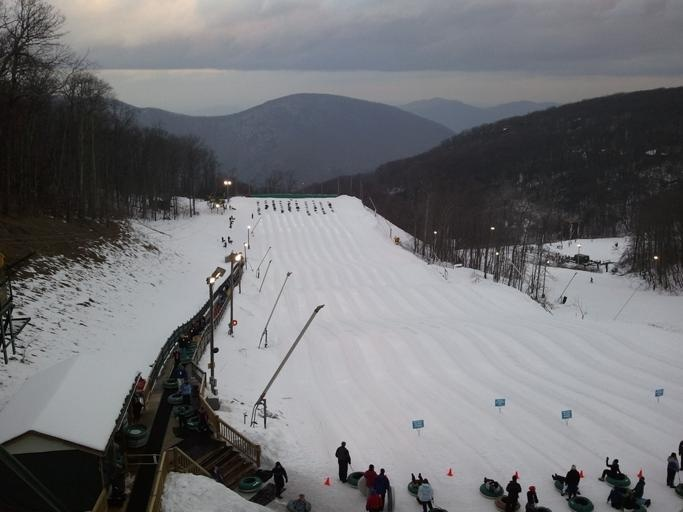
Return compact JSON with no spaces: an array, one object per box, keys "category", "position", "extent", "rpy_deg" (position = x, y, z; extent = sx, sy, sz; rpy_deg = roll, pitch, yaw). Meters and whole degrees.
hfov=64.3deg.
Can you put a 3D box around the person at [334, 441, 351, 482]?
[{"category":"person","position":[0.052,10.733,28.698],"extent":[0.654,2.420,1.482],"rpy_deg":[3,10,0]}]

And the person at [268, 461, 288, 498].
[{"category":"person","position":[-3.010,10.926,26.326],"extent":[0.664,1.783,0.527],"rpy_deg":[-5,8,-15]}]

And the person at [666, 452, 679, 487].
[{"category":"person","position":[17.447,11.217,28.625],"extent":[0.588,1.821,1.152],"rpy_deg":[10,12,35]}]

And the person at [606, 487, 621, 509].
[{"category":"person","position":[13.585,12.081,27.026],"extent":[0.576,0.919,0.464],"rpy_deg":[9,11,27]}]

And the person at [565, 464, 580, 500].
[{"category":"person","position":[11.712,11.622,27.704],"extent":[0.617,2.177,0.628],"rpy_deg":[-4,16,1]}]
